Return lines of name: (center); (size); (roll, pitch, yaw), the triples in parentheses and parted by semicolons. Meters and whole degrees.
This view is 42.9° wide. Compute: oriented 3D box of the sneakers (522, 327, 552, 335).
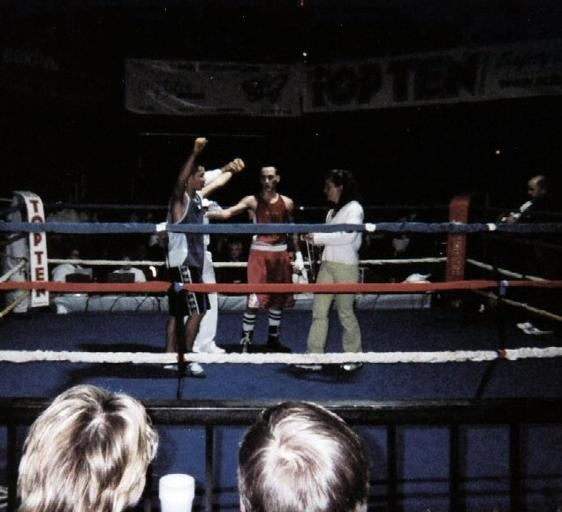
sneakers: (2.254, 0.651, 6.387); (0.133, 0.052, 0.098); (-7, -6, 41)

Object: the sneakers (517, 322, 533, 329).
sneakers: (2.219, 0.618, 6.514); (0.056, 0.043, 0.130); (-29, 3, -15)

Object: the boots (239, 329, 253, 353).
boots: (-0.272, 0.674, 5.756); (0.114, 0.164, 0.179); (1, -4, -1)

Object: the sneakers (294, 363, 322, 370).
sneakers: (0.200, 0.823, 5.327); (0.198, 0.072, 0.063); (2, -1, 13)
